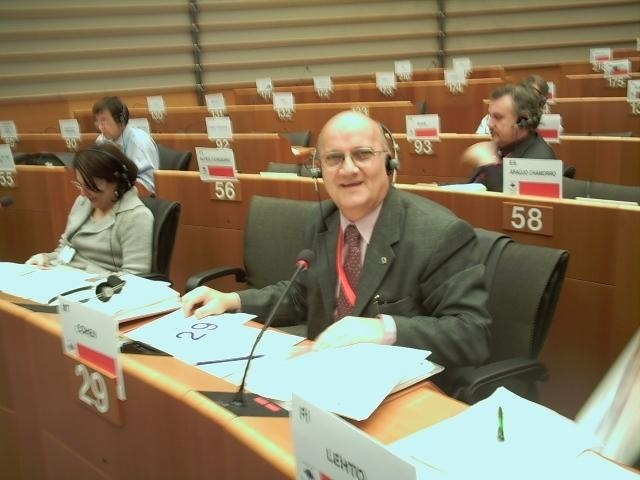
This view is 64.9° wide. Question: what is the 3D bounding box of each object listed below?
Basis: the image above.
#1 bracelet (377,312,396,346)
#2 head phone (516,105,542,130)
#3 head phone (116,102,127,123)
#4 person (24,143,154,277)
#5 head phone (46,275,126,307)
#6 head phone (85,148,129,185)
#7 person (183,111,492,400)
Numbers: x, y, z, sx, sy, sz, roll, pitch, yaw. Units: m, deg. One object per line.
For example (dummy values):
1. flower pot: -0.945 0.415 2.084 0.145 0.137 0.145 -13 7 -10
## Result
1. bracelet: 0.200 0.274 1.527 0.032 0.111 0.074 -3 3 -13
2. head phone: 1.370 -0.797 3.294 0.116 0.108 0.142 -2 6 -8
3. head phone: -1.903 -1.205 4.784 0.063 0.146 0.101 -4 10 23
4. person: -1.284 -0.156 2.869 0.800 0.780 0.505 14 16 33
5. head phone: -0.835 0.181 1.869 0.184 0.067 0.130 -18 22 -42
6. head phone: -1.191 -0.411 2.791 0.145 0.196 0.204 -4 4 28
7. person: 0.036 0.086 2.271 0.929 1.712 0.957 17 -17 -40
